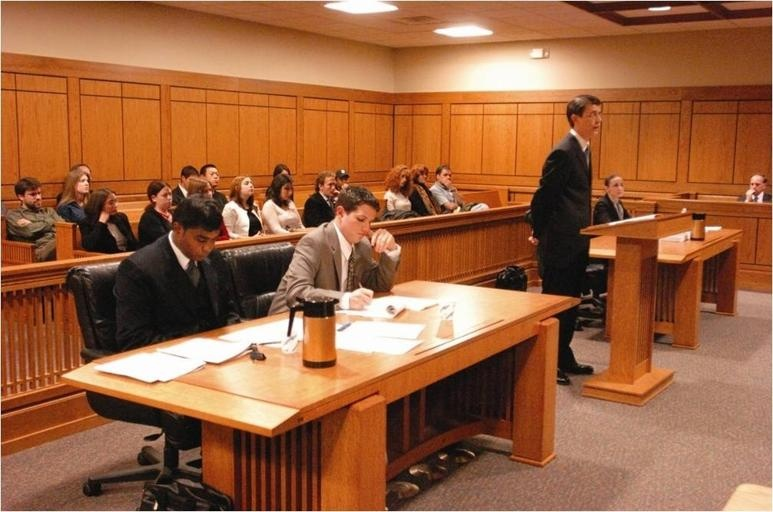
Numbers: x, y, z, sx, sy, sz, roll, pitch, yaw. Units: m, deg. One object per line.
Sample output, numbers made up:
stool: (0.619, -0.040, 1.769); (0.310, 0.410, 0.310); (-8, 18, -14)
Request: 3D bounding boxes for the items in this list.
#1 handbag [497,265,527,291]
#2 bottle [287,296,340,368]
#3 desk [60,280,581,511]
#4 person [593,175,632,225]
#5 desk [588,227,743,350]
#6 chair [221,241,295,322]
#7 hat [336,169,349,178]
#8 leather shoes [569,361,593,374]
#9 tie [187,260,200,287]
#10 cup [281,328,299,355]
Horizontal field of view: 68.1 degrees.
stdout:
handbag: (1.607, 0.288, 7.441); (0.425, 0.373, 0.303); (7, -10, -37)
bottle: (-0.333, 0.384, 2.862); (0.165, 0.333, 0.134); (-2, 14, -9)
desk: (-0.062, 0.969, 3.403); (1.005, 1.221, 2.640); (13, 17, 43)
person: (3.022, -0.758, 7.631); (0.383, 0.588, 0.966); (6, 13, 22)
desk: (3.609, 0.377, 7.202); (1.136, 0.883, 2.682); (5, 7, 41)
chair: (-0.963, 0.170, 4.414); (0.561, 0.715, 0.531); (-4, 7, -44)
hat: (-0.849, -1.589, 10.837); (0.198, 0.127, 0.256); (1, -7, -29)
leather shoes: (1.877, 1.085, 5.572); (0.314, 0.121, 0.104); (-4, 4, 19)
tie: (-1.225, 0.105, 3.649); (0.035, 0.136, 0.084); (-2, 5, 37)
cup: (-0.506, 0.469, 3.094); (0.090, 0.094, 0.098); (4, -1, 0)
